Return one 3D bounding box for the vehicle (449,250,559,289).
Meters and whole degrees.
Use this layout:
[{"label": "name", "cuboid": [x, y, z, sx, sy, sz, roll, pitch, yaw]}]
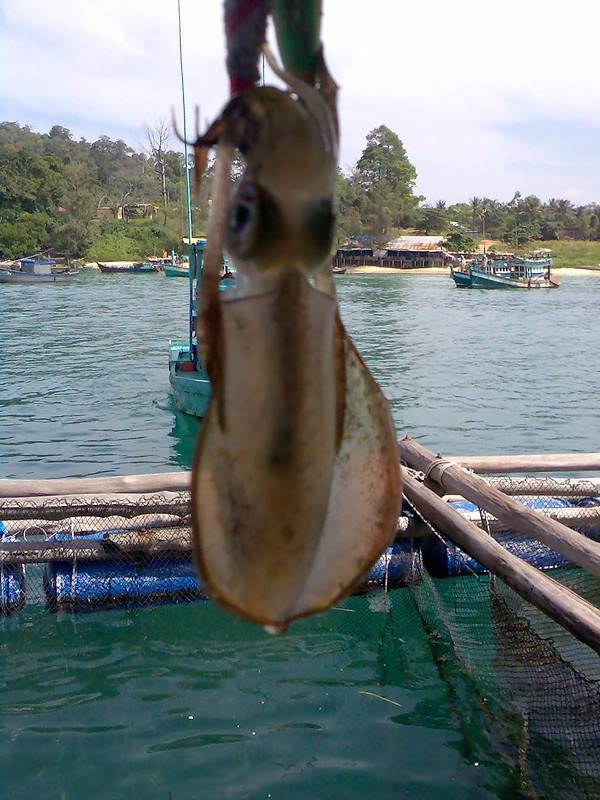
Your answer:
[{"label": "vehicle", "cuboid": [13.384, -8.091, 51.652, 6.879, 2.047, 3.947, -12, 17, -41]}]
